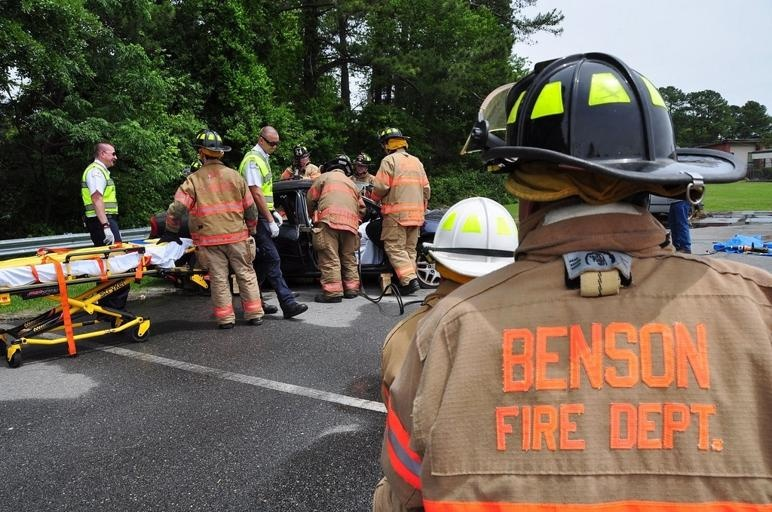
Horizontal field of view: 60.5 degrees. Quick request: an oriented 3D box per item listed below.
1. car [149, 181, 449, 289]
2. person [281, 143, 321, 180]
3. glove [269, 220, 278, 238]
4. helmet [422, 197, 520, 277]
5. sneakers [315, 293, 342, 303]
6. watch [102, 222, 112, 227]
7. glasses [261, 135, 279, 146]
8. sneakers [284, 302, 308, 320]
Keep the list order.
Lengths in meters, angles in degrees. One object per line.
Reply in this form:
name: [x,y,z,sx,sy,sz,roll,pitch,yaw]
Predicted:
car: [-1.185,-0.187,9.221,3.923,1.254,1.644,-4,18,0]
person: [-1.428,-1.549,10.902,0.647,0.551,1.003,-1,11,0]
glove: [-1.279,-0.302,7.664,0.123,0.156,0.060,-1,9,36]
helmet: [0.520,-0.111,3.833,0.462,0.286,0.547,3,3,3]
sneakers: [-0.713,0.521,8.167,0.300,0.117,0.132,-1,5,14]
watch: [-3.453,-0.377,8.158,0.066,0.035,0.074,-8,8,-44]
glasses: [-1.358,-1.338,7.686,0.124,0.035,0.123,26,15,15]
sneakers: [-1.003,0.587,7.316,0.330,0.139,0.124,-17,9,10]
